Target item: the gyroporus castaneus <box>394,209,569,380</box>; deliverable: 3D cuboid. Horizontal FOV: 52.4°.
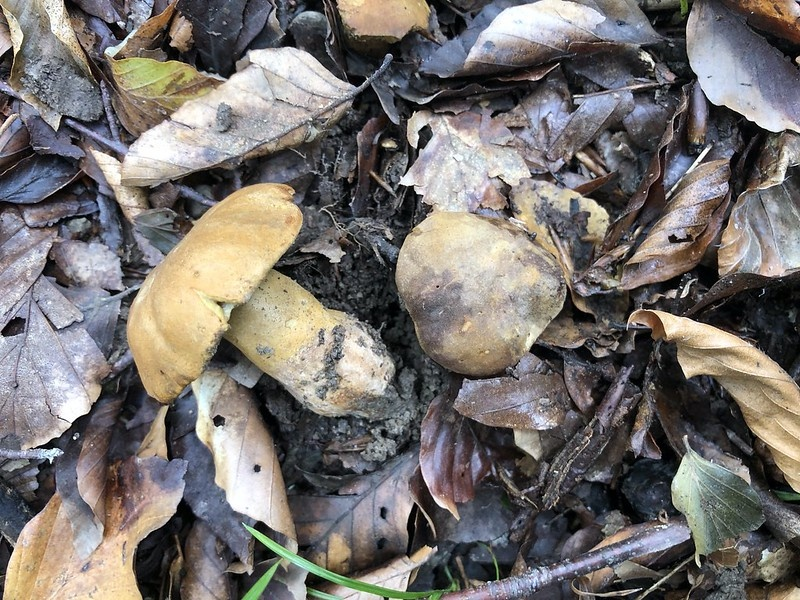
[{"bbox_3d":[0.293,0.006,2.829,0.519,0.359,0.649,-7,56,3],"label":"gyroporus castaneus"}]
